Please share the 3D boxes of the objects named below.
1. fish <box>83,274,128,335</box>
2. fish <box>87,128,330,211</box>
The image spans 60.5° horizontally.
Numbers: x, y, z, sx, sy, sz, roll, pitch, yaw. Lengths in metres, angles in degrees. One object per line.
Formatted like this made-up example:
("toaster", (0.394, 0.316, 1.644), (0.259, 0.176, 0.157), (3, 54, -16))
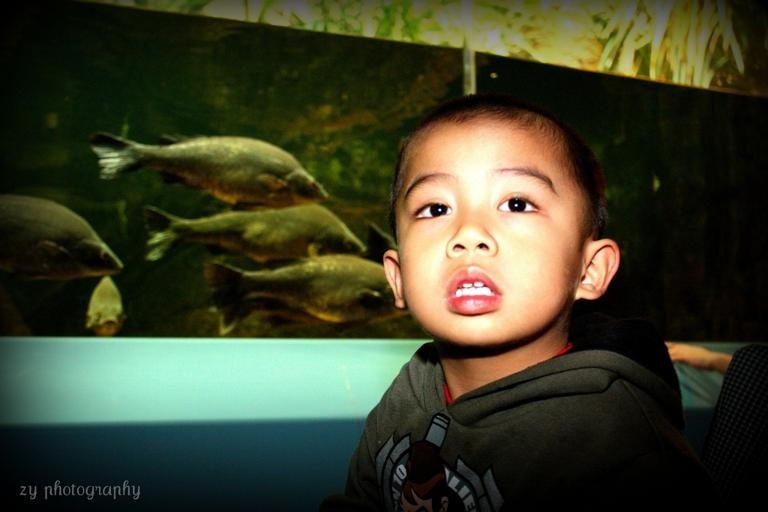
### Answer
("fish", (-0.908, 0.164, 2.145), (0.136, 0.178, 0.077), (3, -1, -34))
("fish", (-0.568, -0.280, 2.252), (0.806, 0.264, 0.175), (4, -11, -31))
